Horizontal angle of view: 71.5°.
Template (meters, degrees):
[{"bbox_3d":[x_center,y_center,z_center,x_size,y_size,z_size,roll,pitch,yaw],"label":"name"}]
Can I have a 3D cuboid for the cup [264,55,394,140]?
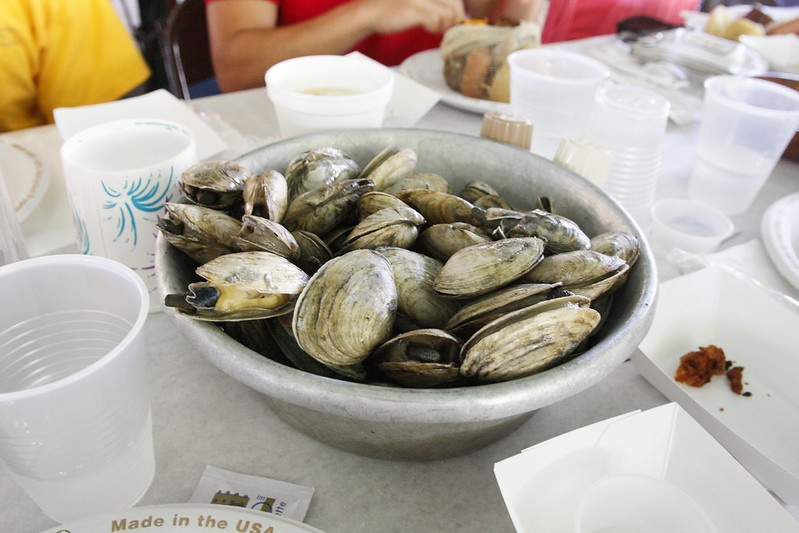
[{"bbox_3d":[-0.128,-0.294,1.003,0.224,0.108,0.223,3,41,-2],"label":"cup"}]

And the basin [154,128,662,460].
[{"bbox_3d":[0.016,0.019,0.779,0.597,0.222,0.529,22,44,19],"label":"basin"}]

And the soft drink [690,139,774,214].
[{"bbox_3d":[0.630,-0.176,1.149,0.151,0.106,0.156,-8,37,-43],"label":"soft drink"}]

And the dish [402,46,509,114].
[{"bbox_3d":[0.111,-0.468,1.316,0.286,0.059,0.265,0,32,-25],"label":"dish"}]
